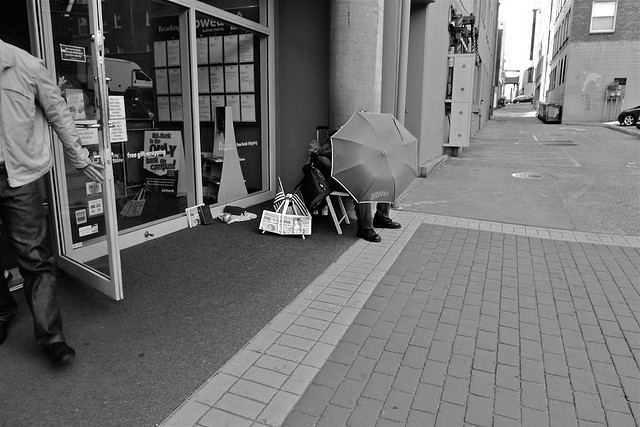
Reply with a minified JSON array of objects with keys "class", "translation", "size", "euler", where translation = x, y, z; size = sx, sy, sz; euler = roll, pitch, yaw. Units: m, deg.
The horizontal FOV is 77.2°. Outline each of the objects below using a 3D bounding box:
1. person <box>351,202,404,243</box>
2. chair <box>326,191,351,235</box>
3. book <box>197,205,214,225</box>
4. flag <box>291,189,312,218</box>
[{"class":"person","translation":[0.895,0.038,6.218],"size":[0.461,0.578,0.859],"euler":[12,20,33]},{"class":"chair","translation":[0.292,-0.011,6.431],"size":[0.260,0.432,0.506],"euler":[-20,11,12]},{"class":"book","translation":[-1.816,0.021,6.425],"size":[0.201,0.278,0.171],"euler":[-16,25,-37]},{"class":"flag","translation":[-0.334,-0.131,6.239],"size":[0.257,0.441,0.116],"euler":[-9,-21,-47]}]
